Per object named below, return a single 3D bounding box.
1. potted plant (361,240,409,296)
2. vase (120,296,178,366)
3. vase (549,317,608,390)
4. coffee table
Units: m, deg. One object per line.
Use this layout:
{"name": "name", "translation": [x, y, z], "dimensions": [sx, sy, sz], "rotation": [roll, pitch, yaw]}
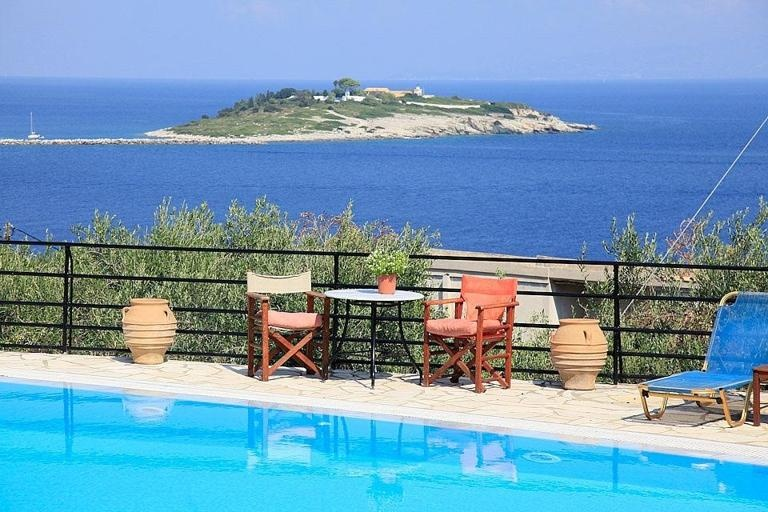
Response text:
{"name": "potted plant", "translation": [0.037, 0.199, 13.032], "dimensions": [0.480, 0.573, 0.416], "rotation": [-8, 16, -27]}
{"name": "vase", "translation": [-3.212, 1.024, 13.731], "dimensions": [0.747, 0.883, 0.773], "rotation": [3, 3, 29]}
{"name": "vase", "translation": [2.444, 1.242, 12.641], "dimensions": [0.748, 0.910, 0.845], "rotation": [0, -2, -9]}
{"name": "coffee table", "translation": [-0.130, 1.033, 13.256], "dimensions": [1.239, 1.102, 1.224], "rotation": [-6, 14, -25]}
